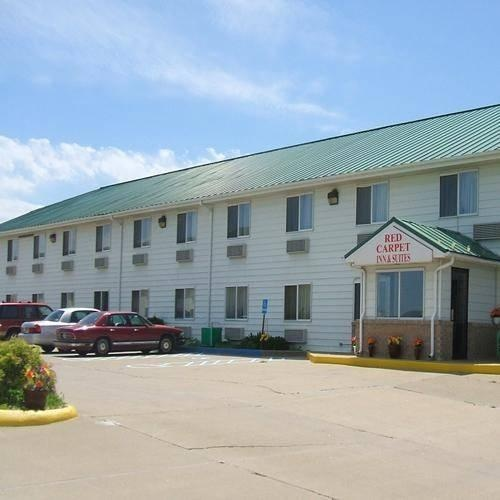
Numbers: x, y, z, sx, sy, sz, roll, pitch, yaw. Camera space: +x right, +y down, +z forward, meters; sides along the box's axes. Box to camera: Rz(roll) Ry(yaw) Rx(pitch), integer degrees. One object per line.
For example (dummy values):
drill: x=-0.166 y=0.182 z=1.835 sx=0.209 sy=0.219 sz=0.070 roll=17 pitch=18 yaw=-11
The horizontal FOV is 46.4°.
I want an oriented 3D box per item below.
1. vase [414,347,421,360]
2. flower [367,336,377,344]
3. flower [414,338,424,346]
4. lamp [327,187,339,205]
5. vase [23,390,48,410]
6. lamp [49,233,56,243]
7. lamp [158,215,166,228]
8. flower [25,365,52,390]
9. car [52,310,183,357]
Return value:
vase: x=4.580 y=2.798 z=15.919 sx=0.187 sy=0.329 sz=0.139 roll=0 pitch=-8 yaw=7
flower: x=3.513 y=2.632 z=16.951 sx=0.190 sy=0.190 sz=0.224 roll=-3 pitch=-5 yaw=-14
flower: x=4.596 y=2.497 z=15.931 sx=0.223 sy=0.198 sz=0.188 roll=-3 pitch=-8 yaw=26
lamp: x=3.017 y=-1.948 z=21.449 sx=0.311 sy=0.610 sz=0.415 roll=8 pitch=-10 yaw=-41
vase: x=-2.864 y=2.002 z=7.854 sx=0.326 sy=0.195 sz=0.289 roll=0 pitch=-14 yaw=-1
lamp: x=-11.410 y=-0.700 z=33.970 sx=0.279 sy=0.548 sz=0.568 roll=8 pitch=-10 yaw=-38
lamp: x=-4.113 y=-1.344 z=27.611 sx=0.352 sy=0.608 sz=0.649 roll=7 pitch=-9 yaw=-35
flower: x=-2.972 y=1.797 z=8.284 sx=0.384 sy=0.218 sz=0.412 roll=-1 pitch=-5 yaw=-3
car: x=-4.454 y=2.931 z=20.812 sx=4.370 sy=1.088 sz=1.632 roll=1 pitch=-3 yaw=-32
